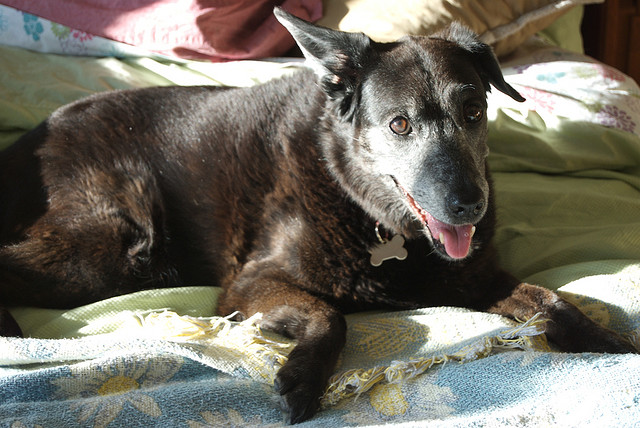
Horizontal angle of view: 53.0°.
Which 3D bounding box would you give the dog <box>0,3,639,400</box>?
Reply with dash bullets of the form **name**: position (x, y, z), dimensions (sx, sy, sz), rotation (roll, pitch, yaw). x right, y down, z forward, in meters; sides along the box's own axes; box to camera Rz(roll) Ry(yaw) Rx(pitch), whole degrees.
- **dog**: position (-0.223, -0.146, 3.178), dimensions (2.949, 1.323, 1.568), rotation (5, 6, 33)
